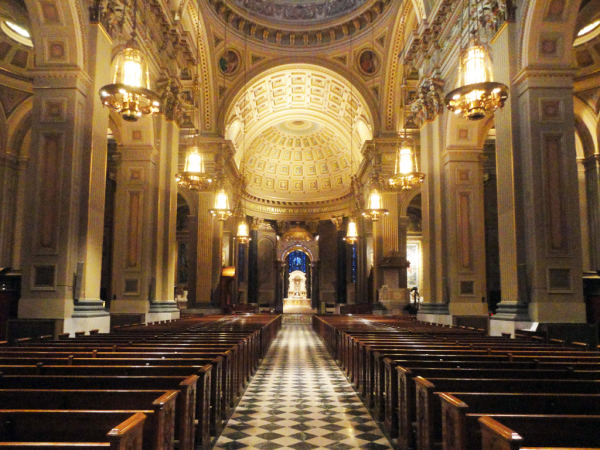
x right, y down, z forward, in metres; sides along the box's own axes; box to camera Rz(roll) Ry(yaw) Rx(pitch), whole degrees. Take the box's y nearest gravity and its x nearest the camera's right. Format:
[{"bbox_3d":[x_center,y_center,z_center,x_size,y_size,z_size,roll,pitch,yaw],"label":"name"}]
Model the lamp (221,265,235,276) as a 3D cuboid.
[{"bbox_3d":[-3.317,2.173,24.785,0.463,0.325,0.450,1,-9,-15],"label":"lamp"}]
